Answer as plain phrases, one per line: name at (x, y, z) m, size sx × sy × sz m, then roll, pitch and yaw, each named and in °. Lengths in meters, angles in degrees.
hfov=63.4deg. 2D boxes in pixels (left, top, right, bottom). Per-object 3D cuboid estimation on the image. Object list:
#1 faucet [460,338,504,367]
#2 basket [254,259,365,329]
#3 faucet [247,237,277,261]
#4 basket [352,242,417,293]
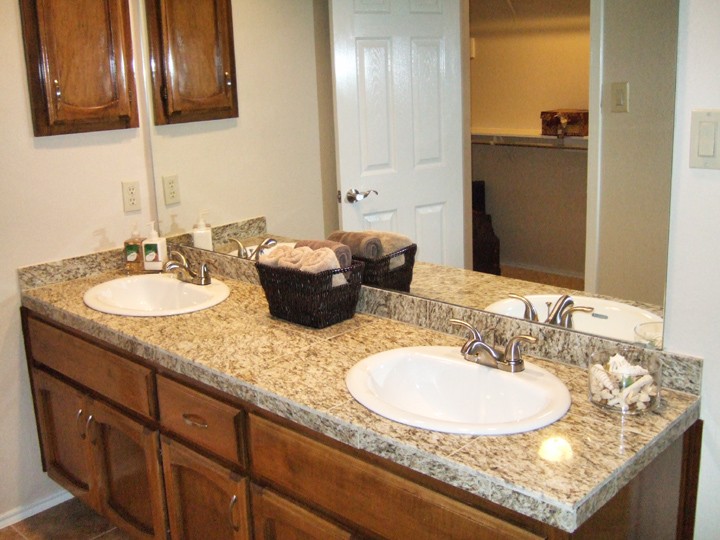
faucet at (0.330, 0.218, 1.564) m, size 0.101 × 0.046 × 0.065 m, roll 8°, pitch 14°, yaw 40°
basket at (-0.173, 0.047, 1.953) m, size 0.283 × 0.162 × 0.210 m, roll 11°, pitch 17°, yaw 42°
faucet at (-0.394, -0.092, 2.348) m, size 0.097 × 0.046 × 0.099 m, roll -17°, pitch 10°, yaw 40°
basket at (0.087, -0.011, 1.935) m, size 0.141 × 0.119 × 0.169 m, roll -10°, pitch 12°, yaw -42°
